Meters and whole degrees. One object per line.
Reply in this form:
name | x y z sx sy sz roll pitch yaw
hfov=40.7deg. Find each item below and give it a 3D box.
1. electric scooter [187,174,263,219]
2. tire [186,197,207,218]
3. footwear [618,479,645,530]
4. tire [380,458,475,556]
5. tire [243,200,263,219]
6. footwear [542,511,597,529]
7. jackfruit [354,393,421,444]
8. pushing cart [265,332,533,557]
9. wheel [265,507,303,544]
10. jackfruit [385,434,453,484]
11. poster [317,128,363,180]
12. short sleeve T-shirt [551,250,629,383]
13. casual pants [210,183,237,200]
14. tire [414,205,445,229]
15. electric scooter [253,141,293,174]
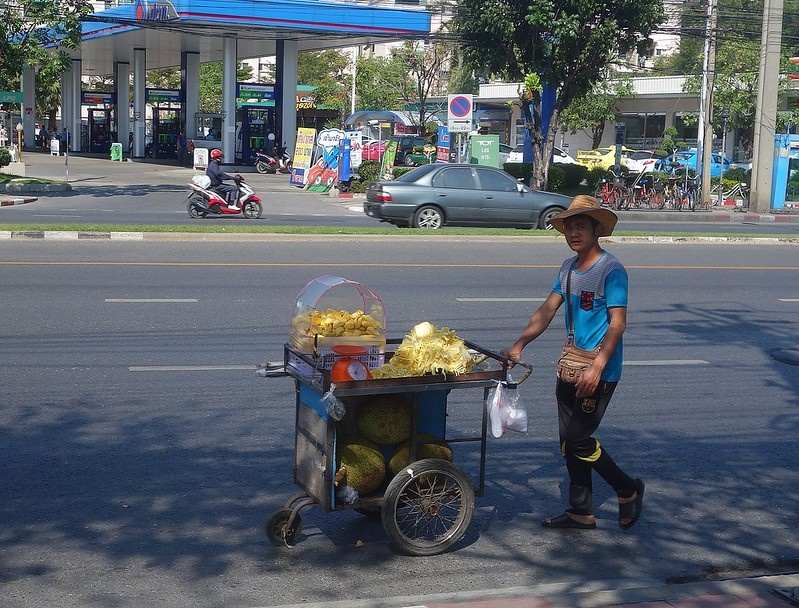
electric scooter | -3.921 -2.465 24.826 1.883 1.052 0.580 2 -2 18
tire | -4.587 -2.209 24.586 0.521 0.568 0.172 3 22 2
footwear | 1.781 1.564 8.259 0.128 0.401 0.165 -4 15 -37
tire | 0.194 1.451 7.985 0.724 0.724 0.575 -1 8 -11
tire | -3.435 -2.218 25.300 0.438 0.461 0.093 6 26 1
footwear | 1.323 1.670 8.302 0.387 0.120 0.144 3 2 1
jackfruit | -0.082 0.833 7.913 0.360 0.276 0.370 9 5 4
pushing cart | -0.205 1.059 8.314 2.028 1.440 1.291 1 2 -21
wheel | -0.832 1.631 7.865 0.262 0.252 0.141 7 4 -21
jackfruit | 0.164 1.136 7.906 0.402 0.216 0.312 0 -2 13
poster | -1.870 -4.894 35.032 0.095 1.622 2.373 4 0 -41
short sleeve T-shirt | 1.421 0.030 8.071 0.556 0.842 0.329 3 8 15
casual pants | -4.004 -2.614 24.765 0.572 0.355 0.325 8 34 -5
tire | 0.642 -1.875 22.889 0.428 0.414 0.139 17 15 -16
electric scooter | -5.581 -6.291 47.546 1.850 1.156 1.050 -11 21 -35
